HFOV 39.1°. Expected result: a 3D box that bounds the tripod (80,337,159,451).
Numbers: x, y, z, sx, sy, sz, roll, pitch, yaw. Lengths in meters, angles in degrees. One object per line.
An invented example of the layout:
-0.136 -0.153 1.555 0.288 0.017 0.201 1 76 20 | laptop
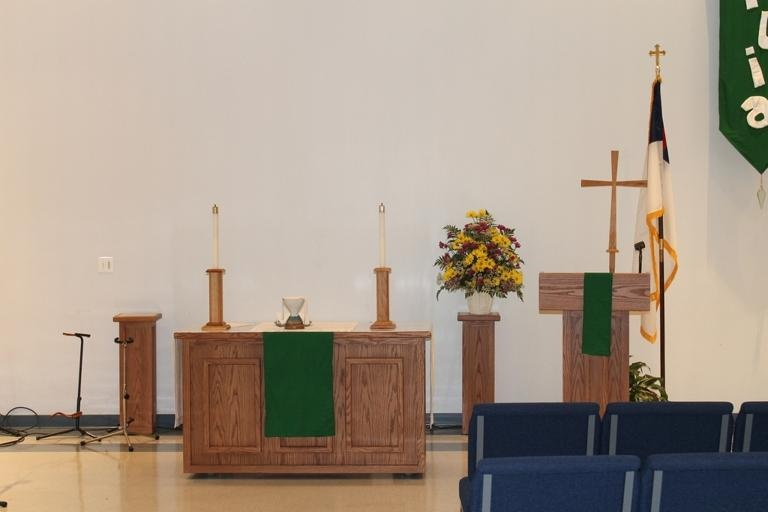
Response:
-2.801 1.431 11.343 0.553 1.192 0.501 -3 -8 8 | tripod

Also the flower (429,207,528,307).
0.990 -0.049 11.349 0.879 0.999 0.681 -2 -8 2 | flower

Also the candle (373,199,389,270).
-0.022 -0.196 10.418 0.068 0.617 0.070 -4 6 -28 | candle

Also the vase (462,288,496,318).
1.000 0.477 11.192 0.265 0.189 0.246 -5 -10 42 | vase
